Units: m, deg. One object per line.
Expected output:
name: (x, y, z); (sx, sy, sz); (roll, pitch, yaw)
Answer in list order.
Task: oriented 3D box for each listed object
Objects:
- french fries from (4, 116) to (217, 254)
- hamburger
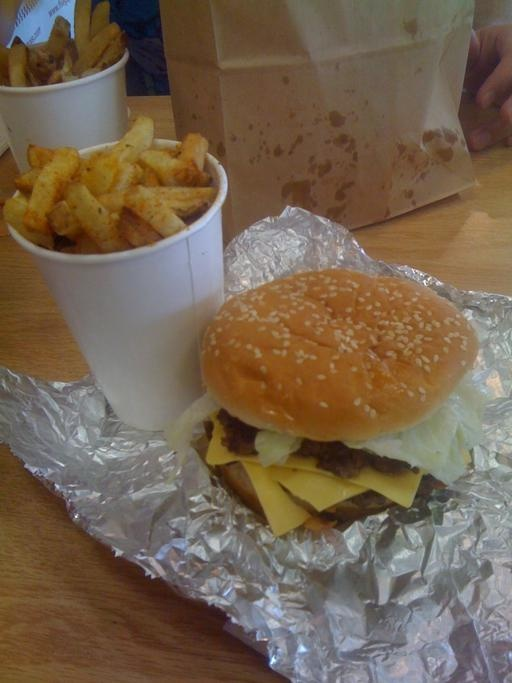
french fries: (-0.305, -0.303, 1.178); (0.423, 0.242, 0.321); (-21, 29, -39)
hamburger: (0.187, 0.023, 1.295); (0.625, 0.212, 0.605); (2, 31, 8)
